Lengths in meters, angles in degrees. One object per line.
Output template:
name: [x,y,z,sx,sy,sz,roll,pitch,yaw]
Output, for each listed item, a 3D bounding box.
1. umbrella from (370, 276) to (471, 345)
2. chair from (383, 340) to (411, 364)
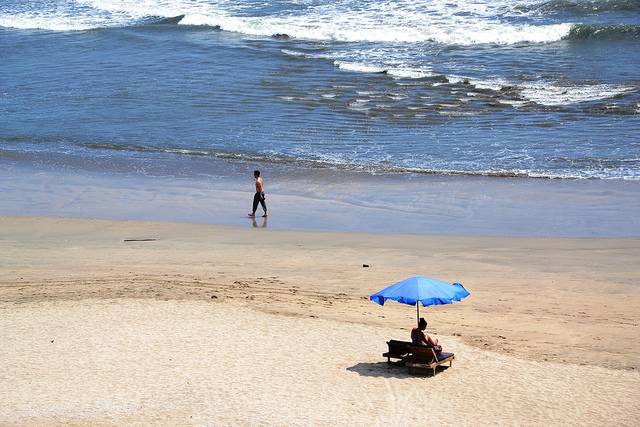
umbrella: [2.403,1.842,16.837,2.194,0.661,0.736,1,8,2]
chair: [1.773,3.246,16.936,0.727,0.316,0.675,2,8,15]
